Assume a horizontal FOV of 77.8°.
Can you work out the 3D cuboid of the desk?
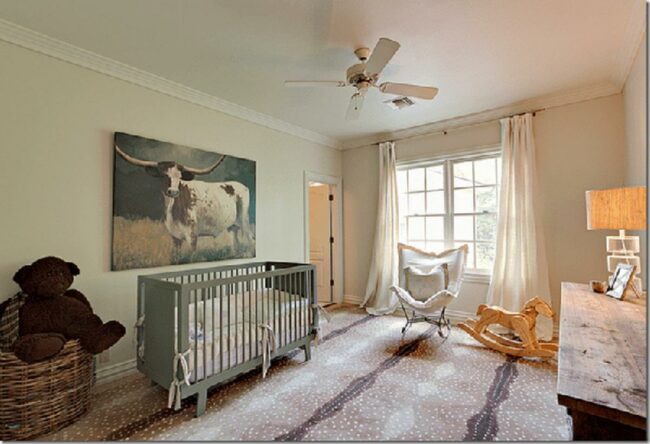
[{"bbox_3d":[1.922,0.989,2.802,0.401,0.333,1.375,1,8,24],"label":"desk"}]

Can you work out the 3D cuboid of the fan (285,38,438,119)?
[{"bbox_3d":[0.560,-1.450,4.241,1.218,0.677,1.576,5,14,25],"label":"fan"}]

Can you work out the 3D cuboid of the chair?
[{"bbox_3d":[1.274,0.870,5.160,0.932,1.010,0.944,-1,-2,39],"label":"chair"}]

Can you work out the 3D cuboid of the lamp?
[{"bbox_3d":[2.771,0.143,3.866,0.519,1.019,0.647,9,16,36],"label":"lamp"}]

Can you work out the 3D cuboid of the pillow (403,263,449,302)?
[{"bbox_3d":[1.297,0.791,5.169,0.425,0.348,0.167,-8,-27,28],"label":"pillow"}]

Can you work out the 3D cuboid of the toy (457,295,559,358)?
[{"bbox_3d":[2.116,1.157,4.666,0.986,0.691,0.308,6,7,43],"label":"toy"}]

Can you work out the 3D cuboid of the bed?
[{"bbox_3d":[-0.949,1.105,4.427,1.156,1.090,1.861,1,3,37],"label":"bed"}]
